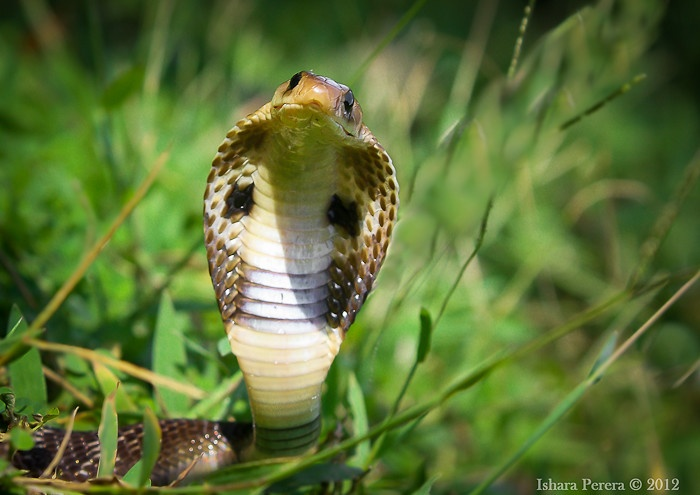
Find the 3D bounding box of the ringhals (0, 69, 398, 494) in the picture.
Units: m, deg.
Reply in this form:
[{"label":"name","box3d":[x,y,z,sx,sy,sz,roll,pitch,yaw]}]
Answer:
[{"label":"ringhals","box3d":[-0.215,0.091,2.410,0.600,1.051,0.791,12,32,11]}]
